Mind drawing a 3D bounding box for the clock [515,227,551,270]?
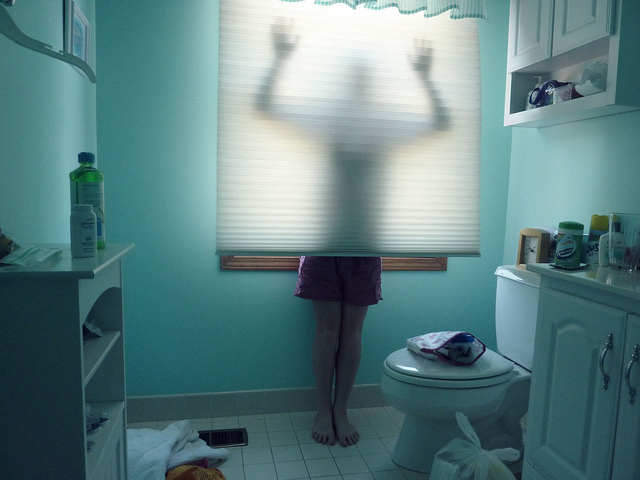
[{"bbox_3d":[0.988,0.040,2.300,0.075,0.260,0.185,2,3,-12],"label":"clock"}]

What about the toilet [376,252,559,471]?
[{"bbox_3d":[0.667,0.628,2.502,1.059,1.113,0.704,0,3,-6],"label":"toilet"}]

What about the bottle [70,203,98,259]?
[{"bbox_3d":[-0.761,-0.037,1.621,0.072,0.162,0.150,-1,14,-14],"label":"bottle"}]

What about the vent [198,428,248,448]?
[{"bbox_3d":[-0.476,0.985,2.486,0.163,0.024,0.093,0,13,-7],"label":"vent"}]
